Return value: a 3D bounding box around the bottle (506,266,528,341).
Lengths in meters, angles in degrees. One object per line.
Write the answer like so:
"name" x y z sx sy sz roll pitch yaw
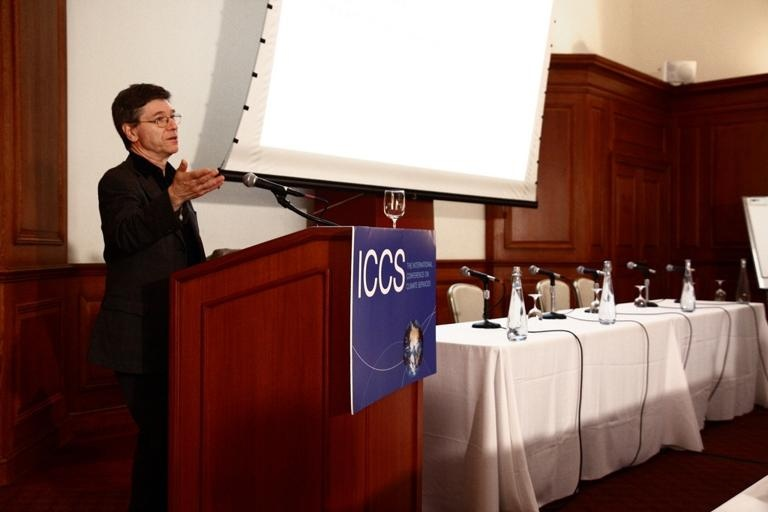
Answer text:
"bottle" 0.802 0.263 3.350 0.115 0.420 0.300 1 6 13

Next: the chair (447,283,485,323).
"chair" 0.613 0.357 4.193 0.244 0.413 0.259 3 -8 -27

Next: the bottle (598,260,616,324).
"bottle" 1.576 0.227 3.916 0.113 0.415 0.496 2 7 21

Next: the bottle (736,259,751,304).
"bottle" 3.281 0.225 5.080 0.097 0.373 0.562 3 8 32
